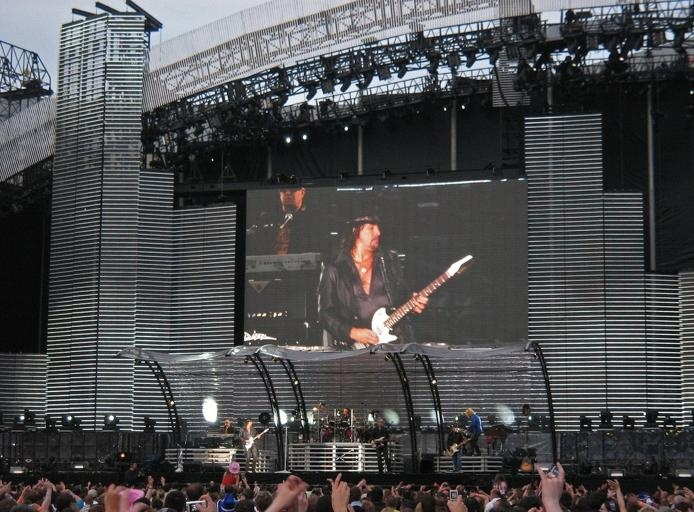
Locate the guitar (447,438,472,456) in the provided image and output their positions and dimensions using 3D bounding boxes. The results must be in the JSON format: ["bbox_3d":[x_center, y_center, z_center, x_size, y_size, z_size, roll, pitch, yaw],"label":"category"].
[{"bbox_3d":[3.564,6.041,57.426,0.596,0.553,0.488,0,-7,-42],"label":"guitar"}]

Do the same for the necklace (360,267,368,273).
[{"bbox_3d":[0.639,0.462,65.317,0.231,0.220,0.054,2,-4,17],"label":"necklace"}]

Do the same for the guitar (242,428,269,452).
[{"bbox_3d":[-3.032,6.012,59.102,0.480,0.615,0.946,-7,-6,33],"label":"guitar"}]

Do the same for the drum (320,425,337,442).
[{"bbox_3d":[-0.605,5.760,59.104,0.499,0.452,0.490,-2,-9,11],"label":"drum"}]

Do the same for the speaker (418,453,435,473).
[{"bbox_3d":[2.409,6.574,57.126,0.412,0.391,0.746,2,9,5],"label":"speaker"}]

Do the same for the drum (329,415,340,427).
[{"bbox_3d":[-0.387,5.399,59.348,0.321,0.301,0.172,-10,-22,27],"label":"drum"}]
